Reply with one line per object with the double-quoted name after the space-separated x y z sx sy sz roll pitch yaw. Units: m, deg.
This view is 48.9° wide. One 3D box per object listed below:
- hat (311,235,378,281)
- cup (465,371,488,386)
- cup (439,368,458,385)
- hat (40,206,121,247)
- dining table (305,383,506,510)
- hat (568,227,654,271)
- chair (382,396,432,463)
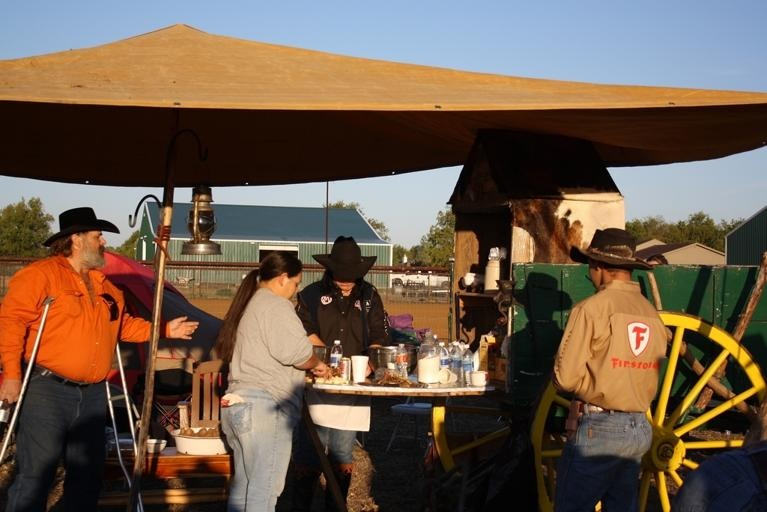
-0.316 -0.043 7.325 0.614 0.307 0.701 3 -12 6 "hat"
0.756 1.014 6.948 0.111 0.091 0.144 -8 -13 43 "cup"
0.522 0.999 6.978 0.136 0.134 0.126 -11 -33 -7 "cup"
-2.372 -0.249 6.579 0.578 0.228 0.528 -14 2 -13 "hat"
0.358 1.619 7.017 1.060 0.722 1.089 1 -3 -6 "dining table"
1.696 -0.051 6.245 0.575 0.291 0.676 14 -1 1 "hat"
0.306 1.906 10.001 0.583 0.909 0.619 4 2 23 "chair"
